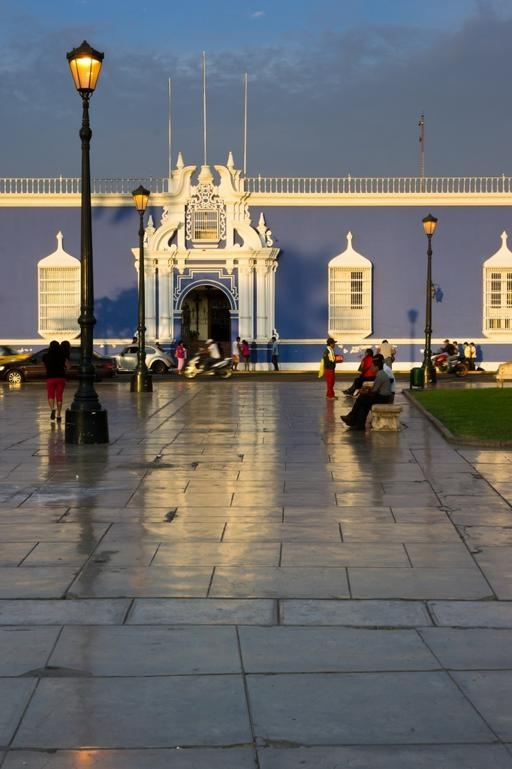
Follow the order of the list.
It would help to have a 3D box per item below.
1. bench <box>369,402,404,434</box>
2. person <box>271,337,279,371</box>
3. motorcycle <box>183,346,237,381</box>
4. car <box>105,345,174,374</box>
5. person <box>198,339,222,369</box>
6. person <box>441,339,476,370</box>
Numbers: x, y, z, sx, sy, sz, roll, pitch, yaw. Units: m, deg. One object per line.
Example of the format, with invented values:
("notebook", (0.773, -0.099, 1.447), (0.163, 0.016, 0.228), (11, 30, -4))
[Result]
("bench", (2.003, 0.526, 14.931), (0.473, 0.429, 0.436), (1, 7, 12))
("person", (0.775, -1.337, 40.645), (0.323, 1.416, 0.675), (0, 6, 1))
("motorcycle", (-1.625, -0.802, 34.165), (1.624, 1.055, 1.003), (0, 6, 15))
("car", (-4.425, -0.900, 36.966), (2.033, 0.957, 1.287), (2, 4, 1))
("person", (-1.623, -1.049, 34.008), (1.244, 0.795, 0.727), (2, 8, 7))
("person", (8.163, -1.255, 38.493), (1.970, 1.207, 0.998), (0, 3, -27))
